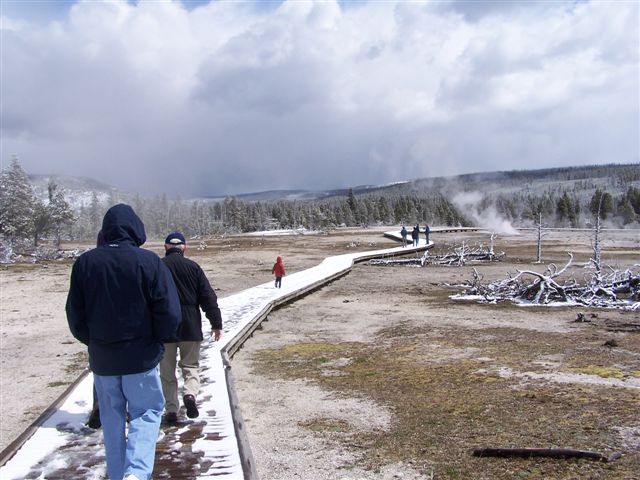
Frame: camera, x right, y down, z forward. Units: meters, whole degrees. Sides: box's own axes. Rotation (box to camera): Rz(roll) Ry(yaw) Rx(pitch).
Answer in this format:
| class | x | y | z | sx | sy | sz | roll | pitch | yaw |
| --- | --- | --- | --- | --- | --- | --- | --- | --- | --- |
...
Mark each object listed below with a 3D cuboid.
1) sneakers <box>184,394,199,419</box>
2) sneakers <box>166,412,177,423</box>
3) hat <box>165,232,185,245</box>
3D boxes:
| class | x | y | z | sx | sy | sz | roll | pitch | yaw |
| --- | --- | --- | --- | --- | --- | --- | --- | --- | --- |
| sneakers | -1.907 | 2.466 | 6.698 | 0.174 | 0.396 | 0.161 | -8 | 10 | -3 |
| sneakers | -2.183 | 2.610 | 6.598 | 0.124 | 0.146 | 0.162 | -4 | -3 | -37 |
| hat | -2.260 | -0.017 | 7.065 | 0.267 | 0.216 | 0.439 | 9 | 2 | -4 |
